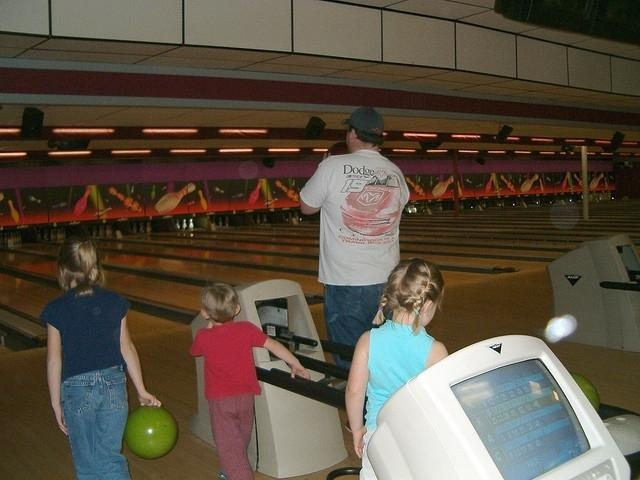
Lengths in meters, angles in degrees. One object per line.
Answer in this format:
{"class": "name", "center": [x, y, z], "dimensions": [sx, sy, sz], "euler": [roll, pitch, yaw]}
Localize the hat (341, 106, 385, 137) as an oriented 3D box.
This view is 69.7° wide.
{"class": "hat", "center": [0.185, -0.517, 2.023], "dimensions": [0.117, 0.087, 0.154], "euler": [-12, 34, -39]}
